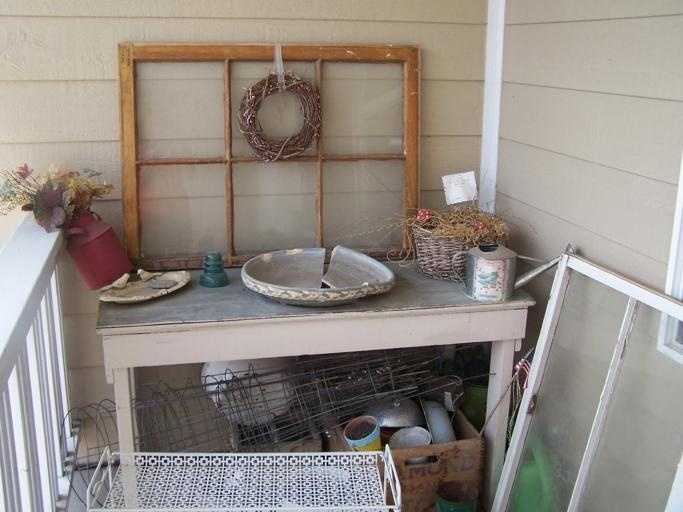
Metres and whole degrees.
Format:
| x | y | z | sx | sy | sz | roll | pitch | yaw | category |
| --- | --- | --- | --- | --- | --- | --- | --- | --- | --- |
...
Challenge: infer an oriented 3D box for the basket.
| x | y | z | sx | sy | sz | roll | pitch | yaw | category |
| --- | --- | --- | --- | --- | --- | --- | --- | --- | --- |
| 0.480 | -0.027 | 2.119 | 0.328 | 0.174 | 0.289 | -1 | 10 | -11 | basket |

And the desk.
| x | y | z | sx | sy | sz | roll | pitch | yaw | category |
| --- | --- | --- | --- | --- | --- | --- | --- | --- | --- |
| -0.096 | 0.934 | 2.476 | 1.847 | 1.561 | 0.644 | -3 | 28 | -8 | desk |

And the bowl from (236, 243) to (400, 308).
| x | y | z | sx | sy | sz | roll | pitch | yaw | category |
| --- | --- | --- | --- | --- | --- | --- | --- | --- | --- |
| -0.119 | 0.073 | 2.112 | 0.351 | 0.085 | 0.334 | 1 | 25 | -1 | bowl |
